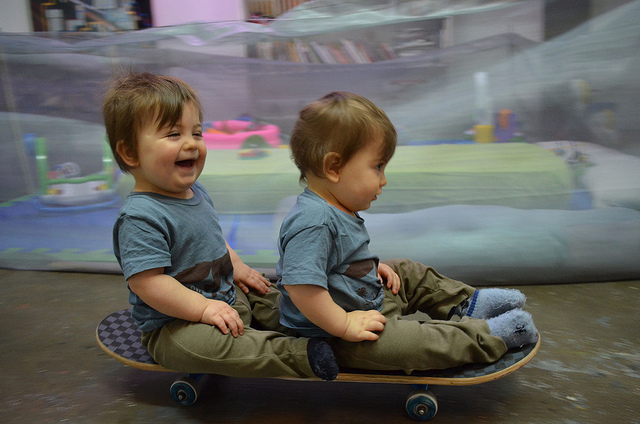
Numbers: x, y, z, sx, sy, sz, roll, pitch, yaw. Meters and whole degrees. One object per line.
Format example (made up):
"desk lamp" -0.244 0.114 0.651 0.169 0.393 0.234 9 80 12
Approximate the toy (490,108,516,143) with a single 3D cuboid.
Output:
"toy" 0.655 -0.296 1.818 0.116 0.114 0.094 3 -17 4

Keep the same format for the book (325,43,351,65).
"book" 0.063 -0.572 1.834 0.079 0.080 0.022 6 20 37

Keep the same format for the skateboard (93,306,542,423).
"skateboard" -0.200 0.442 1.455 1.563 0.157 0.401 0 8 3

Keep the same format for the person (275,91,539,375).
"person" 0.267 0.083 1.463 0.850 0.637 0.507 9 17 4
